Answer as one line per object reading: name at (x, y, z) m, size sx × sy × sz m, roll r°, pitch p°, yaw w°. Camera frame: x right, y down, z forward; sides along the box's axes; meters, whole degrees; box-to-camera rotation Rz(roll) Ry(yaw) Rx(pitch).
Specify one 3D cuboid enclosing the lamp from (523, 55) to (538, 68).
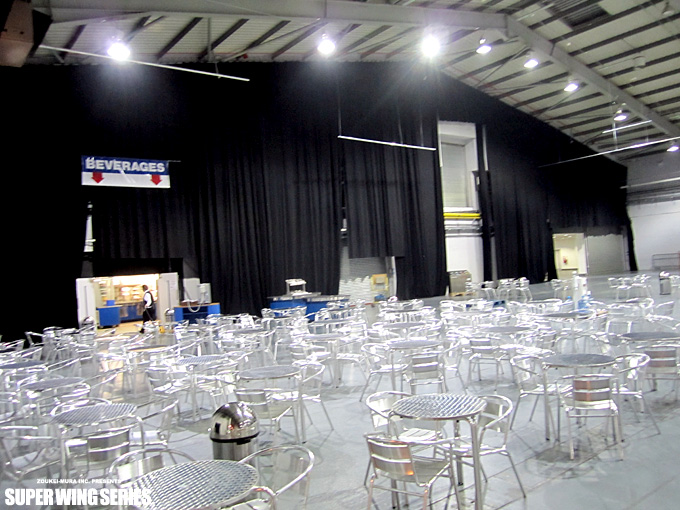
lamp at (6.067, -6.175, 16.077) m, size 0.377 × 0.300 × 0.616 m, roll -5°, pitch -3°, yaw 22°

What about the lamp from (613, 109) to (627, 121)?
lamp at (10.893, -5.438, 19.780) m, size 0.642 × 0.496 × 0.140 m, roll 10°, pitch 12°, yaw -20°
